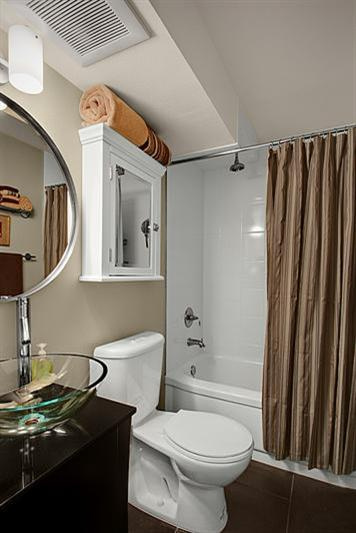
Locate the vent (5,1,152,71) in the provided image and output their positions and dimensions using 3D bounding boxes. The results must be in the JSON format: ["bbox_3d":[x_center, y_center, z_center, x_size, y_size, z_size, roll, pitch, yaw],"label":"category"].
[{"bbox_3d":[-0.314,-0.794,1.301,0.355,0.065,0.345,0,2,30],"label":"vent"}]

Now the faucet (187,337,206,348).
[{"bbox_3d":[0.123,0.521,2.735,0.098,0.067,0.061,3,-3,24],"label":"faucet"}]

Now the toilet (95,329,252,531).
[{"bbox_3d":[0.047,0.705,2.059,0.763,1.017,0.503,1,3,27],"label":"toilet"}]

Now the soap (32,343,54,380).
[{"bbox_3d":[-0.455,0.317,1.315,0.062,0.124,0.066,11,-22,-39],"label":"soap"}]

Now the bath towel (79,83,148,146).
[{"bbox_3d":[-0.265,-0.652,1.692,0.306,0.209,0.204,-1,1,-16],"label":"bath towel"}]
